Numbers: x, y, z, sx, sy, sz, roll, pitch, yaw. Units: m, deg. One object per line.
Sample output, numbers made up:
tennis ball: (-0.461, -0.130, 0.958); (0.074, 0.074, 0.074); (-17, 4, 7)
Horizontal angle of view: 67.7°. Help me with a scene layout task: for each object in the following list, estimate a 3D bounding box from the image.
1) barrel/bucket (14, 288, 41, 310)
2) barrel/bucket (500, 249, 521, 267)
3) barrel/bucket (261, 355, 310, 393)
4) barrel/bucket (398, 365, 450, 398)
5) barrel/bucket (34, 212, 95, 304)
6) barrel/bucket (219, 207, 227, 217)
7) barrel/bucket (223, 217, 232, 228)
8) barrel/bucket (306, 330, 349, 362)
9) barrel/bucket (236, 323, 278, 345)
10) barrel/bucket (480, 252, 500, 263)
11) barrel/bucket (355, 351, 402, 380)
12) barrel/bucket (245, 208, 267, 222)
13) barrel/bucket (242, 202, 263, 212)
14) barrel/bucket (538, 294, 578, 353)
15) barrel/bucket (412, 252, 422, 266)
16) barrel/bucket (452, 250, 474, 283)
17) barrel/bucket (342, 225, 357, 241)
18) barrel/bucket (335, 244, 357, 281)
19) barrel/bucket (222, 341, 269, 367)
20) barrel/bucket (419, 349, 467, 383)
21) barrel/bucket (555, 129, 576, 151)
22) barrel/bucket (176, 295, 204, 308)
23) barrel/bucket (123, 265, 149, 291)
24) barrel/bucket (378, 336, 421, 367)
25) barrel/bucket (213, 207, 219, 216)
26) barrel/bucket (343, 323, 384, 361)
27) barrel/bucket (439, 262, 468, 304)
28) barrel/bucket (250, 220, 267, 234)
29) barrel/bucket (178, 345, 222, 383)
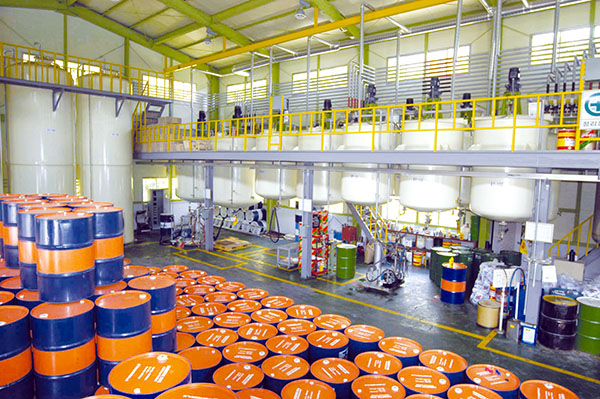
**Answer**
barrel/bucket: (-6.081, 2.244, 9.921); (0.368, 0.372, 0.352); (18, 17, -6)
barrel/bucket: (8.160, 2.277, 17.204); (0.648, 0.604, 0.668); (0, 6, 0)
barrel/bucket: (-0.354, 3.942, 10.294); (0.791, 0.806, 0.800); (2, 12, 0)
barrel/bucket: (2.856, 4.140, 10.116); (0.718, 0.708, 0.676); (0, 18, 0)
barrel/bucket: (-5.385, 1.347, 10.208); (1.307, 1.776, 1.243); (-2, 2, 0)
barrel/bucket: (-4.229, 0.696, 24.617); (0.470, 0.380, 0.553); (2, 3, 14)
barrel/bucket: (-4.233, 1.369, 25.968); (0.387, 0.597, 0.622); (11, -13, -16)
barrel/bucket: (0.714, 3.581, 11.079); (0.734, 0.747, 0.743); (0, 11, 0)
barrel/bucket: (-1.091, 3.433, 11.444); (0.543, 0.510, 0.536); (3, 18, -1)
barrel/bucket: (7.261, 2.237, 16.946); (0.432, 0.405, 0.403); (0, 2, 0)
barrel/bucket: (1.878, 3.929, 10.595); (0.671, 0.658, 0.627); (0, 15, 0)
barrel/bucket: (-2.501, 0.903, 25.258); (1.285, 0.766, 0.806); (0, 6, -13)
barrel/bucket: (-2.572, 0.451, 25.443); (0.720, 0.677, 0.673); (1, 1, 0)
barrel/bucket: (8.037, 3.883, 13.747); (1.065, 1.406, 0.975); (4, 1, 0)
barrel/bucket: (5.361, 2.697, 20.191); (0.475, 0.569, 0.353); (4, 15, 13)
barrel/bucket: (6.520, 2.647, 17.661); (0.850, 1.199, 0.810); (-1, -1, 0)
barrel/bucket: (2.518, 1.767, 22.493); (0.812, 0.711, 0.410); (0, 0, 25)
barrel/bucket: (1.879, 2.579, 18.124); (0.801, 1.283, 0.947); (2, 14, 3)
barrel/bucket: (-1.311, 3.719, 10.735); (0.607, 0.606, 0.588); (3, 16, -1)
barrel/bucket: (3.437, 3.950, 10.693); (0.818, 0.805, 0.781); (-3, 15, 1)
barrel/bucket: (7.411, -1.679, 12.645); (0.681, 0.677, 0.665); (0, 2, 0)
barrel/bucket: (-3.221, 2.958, 12.878); (0.465, 0.431, 0.437); (-1, 9, 0)
barrel/bucket: (-4.294, 2.006, 11.415); (0.502, 0.492, 0.474); (6, 9, -1)
barrel/bucket: (2.475, 3.709, 11.059); (0.741, 0.731, 0.696); (-1, 16, 0)
barrel/bucket: (-4.859, 0.697, 25.796); (0.264, 0.574, 0.771); (-6, 15, -24)
barrel/bucket: (1.647, 3.697, 11.462); (0.874, 0.853, 0.817); (0, 6, 0)
barrel/bucket: (5.584, 3.010, 16.071); (0.898, 1.475, 0.775); (-6, 16, -24)
barrel/bucket: (-2.364, 1.640, 25.125); (0.941, 0.809, 0.660); (-8, 14, -21)
barrel/bucket: (-2.262, 3.960, 10.767); (0.837, 0.848, 0.826); (-3, -19, -1)
